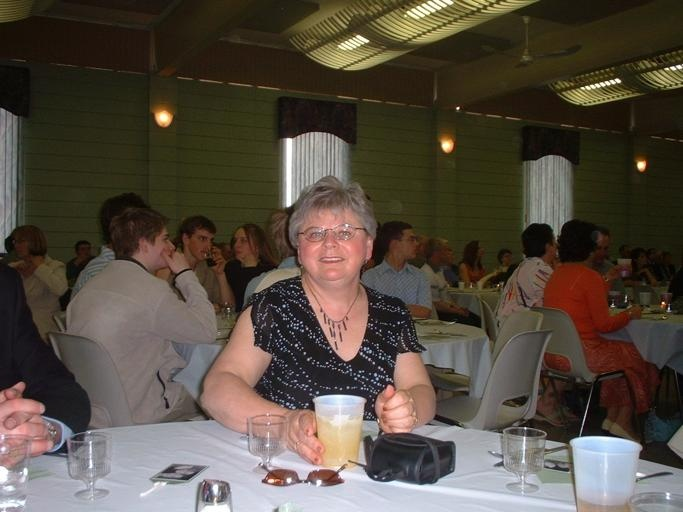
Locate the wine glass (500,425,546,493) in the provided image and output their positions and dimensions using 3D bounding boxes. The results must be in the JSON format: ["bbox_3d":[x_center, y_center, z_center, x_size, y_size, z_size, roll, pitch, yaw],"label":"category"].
[{"bbox_3d":[0.426,0.501,1.350,0.138,0.146,0.128,-1,1,8],"label":"wine glass"}]

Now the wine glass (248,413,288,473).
[{"bbox_3d":[-0.147,0.468,1.328,0.119,0.129,0.124,0,-11,2],"label":"wine glass"}]

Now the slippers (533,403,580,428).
[{"bbox_3d":[1.704,1.282,4.247,0.300,0.118,0.249,-4,-3,12],"label":"slippers"}]

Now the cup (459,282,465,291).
[{"bbox_3d":[1.690,0.414,7.490,0.095,0.096,0.094,0,-10,0],"label":"cup"}]

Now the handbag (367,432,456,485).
[{"bbox_3d":[0.164,0.469,1.288,0.117,0.060,0.160,5,-6,-39],"label":"handbag"}]

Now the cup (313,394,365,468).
[{"bbox_3d":[-0.006,0.426,1.331,0.172,0.170,0.168,0,-10,0],"label":"cup"}]
